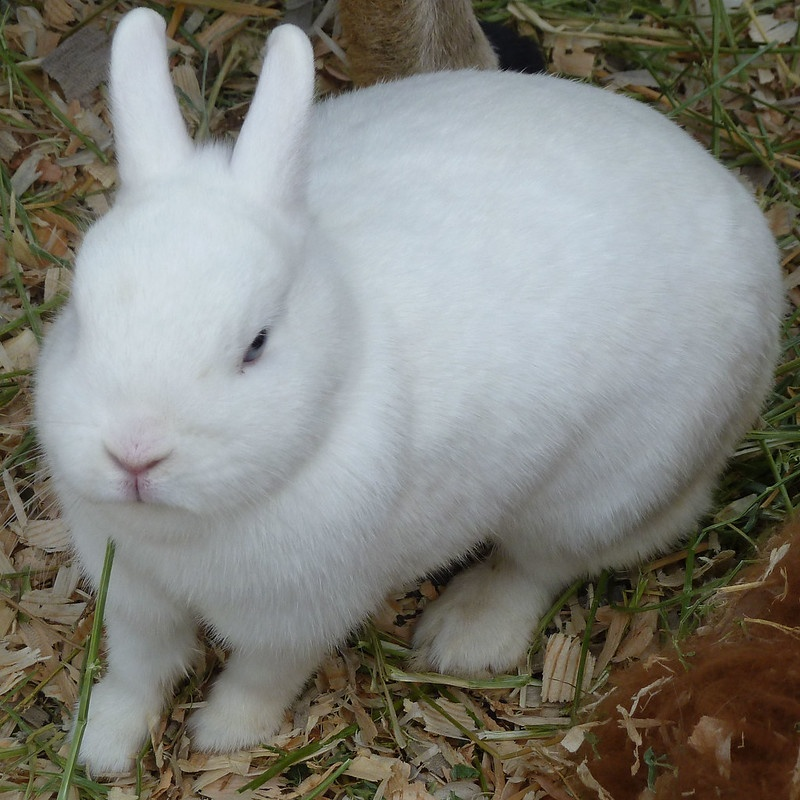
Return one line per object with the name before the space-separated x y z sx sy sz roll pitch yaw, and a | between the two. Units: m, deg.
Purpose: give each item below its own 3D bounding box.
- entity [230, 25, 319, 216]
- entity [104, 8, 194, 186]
entity | -0.243 -0.553 1.978 0.168 0.395 0.215 17 30 9
entity | -0.517 -0.597 2.005 0.171 0.182 0.392 -5 85 12
